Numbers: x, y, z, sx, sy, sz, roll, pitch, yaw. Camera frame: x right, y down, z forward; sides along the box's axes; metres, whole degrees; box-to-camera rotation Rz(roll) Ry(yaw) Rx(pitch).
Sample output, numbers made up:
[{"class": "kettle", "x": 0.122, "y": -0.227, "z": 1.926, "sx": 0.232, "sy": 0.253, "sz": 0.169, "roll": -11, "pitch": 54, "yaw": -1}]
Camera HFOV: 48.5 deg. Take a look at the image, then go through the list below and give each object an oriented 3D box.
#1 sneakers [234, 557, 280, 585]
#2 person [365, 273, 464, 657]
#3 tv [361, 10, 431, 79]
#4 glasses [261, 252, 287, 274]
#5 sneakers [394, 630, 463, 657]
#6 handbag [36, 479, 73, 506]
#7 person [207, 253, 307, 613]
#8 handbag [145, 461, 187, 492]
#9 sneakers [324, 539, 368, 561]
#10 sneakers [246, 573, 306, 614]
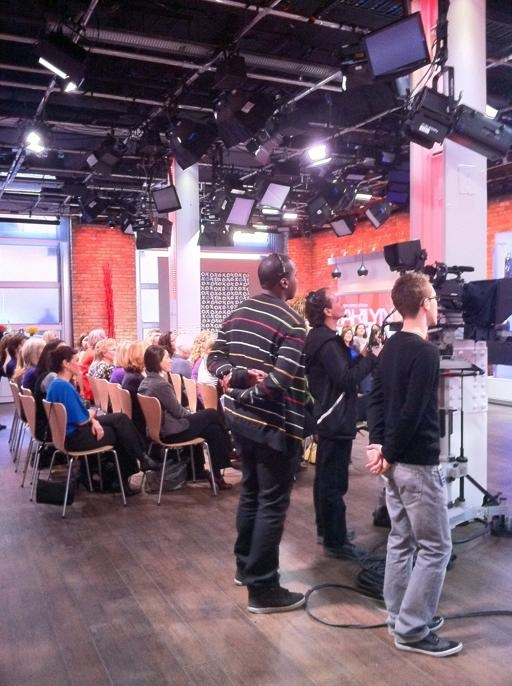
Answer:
[{"class": "sneakers", "x": -0.012, "y": 1.101, "z": 2.804, "sx": 0.207, "sy": 0.175, "sz": 0.150, "roll": -3, "pitch": 0, "yaw": -13}, {"class": "person", "x": 0.598, "y": 0.448, "z": 2.197, "sx": 0.331, "sy": 1.463, "sz": 0.353, "roll": -2, "pitch": 2, "yaw": 11}, {"class": "tv", "x": 0.914, "y": -1.940, "z": 3.715, "sx": 0.387, "sy": 0.242, "sz": 0.280, "roll": -1, "pitch": 2, "yaw": 28}, {"class": "glasses", "x": 0.082, "y": -0.361, "z": 2.561, "sx": 0.120, "sy": 0.088, "sz": 0.084, "roll": -14, "pitch": 4, "yaw": -17}, {"class": "sneakers", "x": 0.662, "y": 1.140, "z": 2.187, "sx": 0.260, "sy": 0.098, "sz": 0.090, "roll": 0, "pitch": -9, "yaw": 3}, {"class": "handbag", "x": -1.496, "y": 1.091, "z": 4.248, "sx": 0.296, "sy": 0.180, "sz": 0.203, "roll": 1, "pitch": -18, "yaw": -4}, {"class": "person", "x": 0.005, "y": 0.394, "z": 2.502, "sx": 0.473, "sy": 1.588, "sz": 0.393, "roll": -1, "pitch": 2, "yaw": 20}, {"class": "handbag", "x": -0.737, "y": 1.056, "z": 4.540, "sx": 0.293, "sy": 0.185, "sz": 0.187, "roll": -3, "pitch": 1, "yaw": -34}, {"class": "sneakers", "x": 0.484, "y": 1.124, "z": 3.098, "sx": 0.236, "sy": 0.082, "sz": 0.082, "roll": 0, "pitch": -3, "yaw": 2}, {"class": "sneakers", "x": 0.079, "y": 1.139, "z": 2.600, "sx": 0.301, "sy": 0.186, "sz": 0.113, "roll": 1, "pitch": -10, "yaw": -13}]
